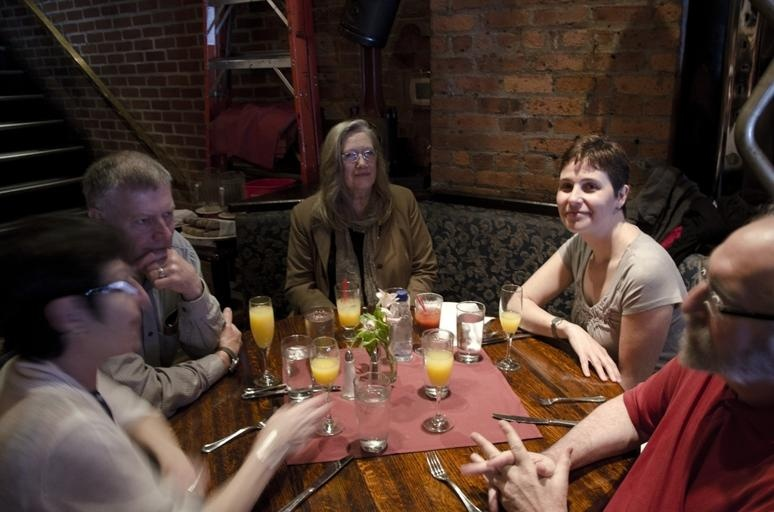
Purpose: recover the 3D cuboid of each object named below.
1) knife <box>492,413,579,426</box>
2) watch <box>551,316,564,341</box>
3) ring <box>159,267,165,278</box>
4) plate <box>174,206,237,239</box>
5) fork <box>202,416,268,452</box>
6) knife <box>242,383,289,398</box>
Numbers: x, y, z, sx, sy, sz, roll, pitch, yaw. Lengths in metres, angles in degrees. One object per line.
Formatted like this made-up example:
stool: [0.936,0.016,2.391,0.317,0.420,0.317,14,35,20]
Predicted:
knife: [0.498,0.563,1.713,0.237,0.030,0.025,7,-16,5]
watch: [0.725,0.319,2.154,0.034,0.081,0.083,3,12,30]
ring: [-0.962,0.073,2.151,0.038,0.036,0.039,4,3,0]
plate: [-1.357,-0.218,3.682,0.327,0.141,0.451,-5,10,-41]
fork: [-0.494,0.589,1.640,0.223,0.026,0.042,-19,41,-39]
knife: [-0.442,0.500,1.833,0.133,0.031,0.072,-3,10,-13]
